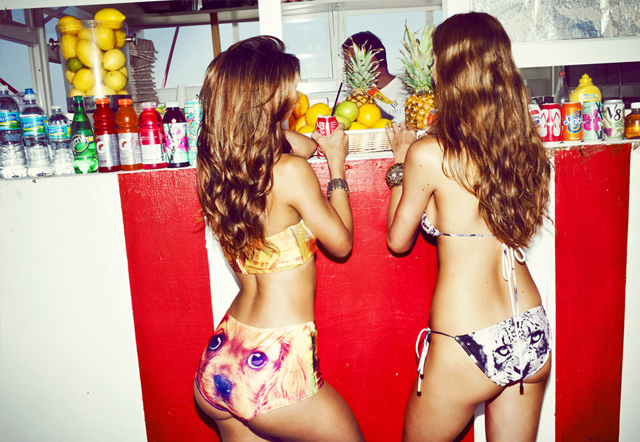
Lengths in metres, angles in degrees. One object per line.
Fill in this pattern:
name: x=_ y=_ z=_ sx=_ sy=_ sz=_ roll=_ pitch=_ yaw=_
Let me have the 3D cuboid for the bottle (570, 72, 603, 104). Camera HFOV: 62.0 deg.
bottle: x=1.333 y=-0.630 z=2.674 sx=0.150 sy=0.209 sz=0.116 roll=-5 pitch=11 yaw=10

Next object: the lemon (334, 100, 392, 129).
lemon: x=0.197 y=-0.514 z=2.553 sx=0.240 sy=0.151 sz=0.103 roll=-4 pitch=16 yaw=0

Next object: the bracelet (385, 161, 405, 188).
bracelet: x=0.333 y=-0.206 z=2.399 sx=0.043 sy=0.104 sz=0.080 roll=21 pitch=-19 yaw=-33

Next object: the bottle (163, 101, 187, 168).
bottle: x=-0.668 y=-0.399 z=2.476 sx=0.108 sy=0.296 sz=0.086 roll=-6 pitch=9 yaw=-16

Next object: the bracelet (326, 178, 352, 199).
bracelet: x=0.076 y=-0.157 z=2.307 sx=0.101 sy=0.070 sz=0.096 roll=-7 pitch=-27 yaw=17

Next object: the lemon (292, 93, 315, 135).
lemon: x=-0.089 y=-0.547 z=2.662 sx=0.089 sy=0.205 sz=0.094 roll=-5 pitch=-3 yaw=26

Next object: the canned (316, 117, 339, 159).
canned: x=0.038 y=-0.431 z=2.495 sx=0.088 sy=0.151 sz=0.094 roll=4 pitch=5 yaw=5

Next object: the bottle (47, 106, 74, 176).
bottle: x=-1.240 y=-0.387 z=2.557 sx=0.104 sy=0.323 sz=0.180 roll=-7 pitch=10 yaw=-27

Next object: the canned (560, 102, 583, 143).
canned: x=1.222 y=-0.483 z=2.586 sx=0.133 sy=0.189 sz=0.137 roll=0 pitch=13 yaw=25

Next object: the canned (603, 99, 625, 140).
canned: x=1.421 y=-0.491 z=2.571 sx=0.118 sy=0.194 sz=0.052 roll=-3 pitch=9 yaw=-2

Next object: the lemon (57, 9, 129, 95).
lemon: x=-1.150 y=-0.854 z=2.719 sx=0.327 sy=0.434 sz=0.195 roll=-6 pitch=9 yaw=-19

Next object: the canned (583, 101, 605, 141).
canned: x=1.306 y=-0.483 z=2.569 sx=0.082 sy=0.192 sz=0.045 roll=0 pitch=9 yaw=19

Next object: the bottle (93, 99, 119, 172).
bottle: x=-1.007 y=-0.409 z=2.516 sx=0.098 sy=0.346 sz=0.098 roll=-3 pitch=9 yaw=0
